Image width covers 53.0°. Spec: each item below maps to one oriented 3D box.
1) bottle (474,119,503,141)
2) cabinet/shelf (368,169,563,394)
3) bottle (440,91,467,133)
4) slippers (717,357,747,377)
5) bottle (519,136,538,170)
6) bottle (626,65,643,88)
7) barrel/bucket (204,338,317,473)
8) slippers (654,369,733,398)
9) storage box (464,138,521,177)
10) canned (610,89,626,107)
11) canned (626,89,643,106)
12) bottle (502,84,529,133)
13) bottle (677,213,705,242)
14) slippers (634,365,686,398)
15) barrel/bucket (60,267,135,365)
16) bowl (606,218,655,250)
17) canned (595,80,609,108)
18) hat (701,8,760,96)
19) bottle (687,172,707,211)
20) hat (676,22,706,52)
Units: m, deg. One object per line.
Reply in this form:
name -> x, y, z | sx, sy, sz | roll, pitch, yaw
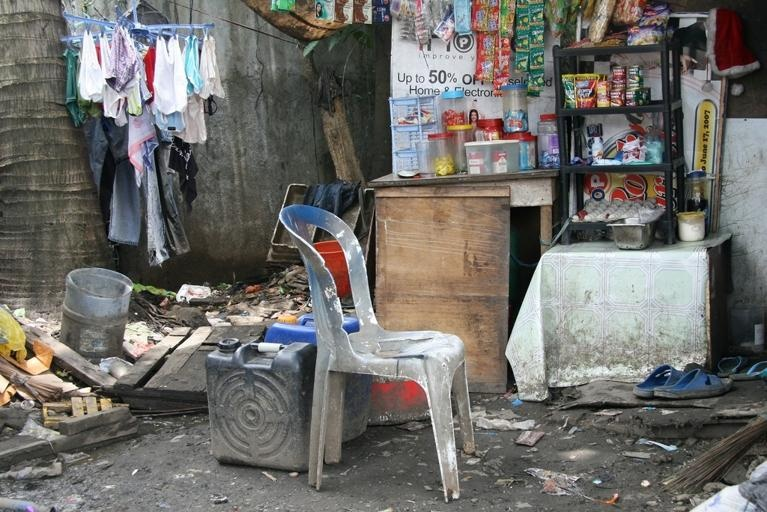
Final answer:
bottle -> 0.973, -1.169, 7.181 | 0.223, 0.191, 0.224 | 0, 2, 9
cabinet/shelf -> 0.856, 0.037, 7.936 | 1.767, 2.331, 2.335 | -1, 2, 9
bottle -> 0.660, -1.372, 7.244 | 0.256, 0.357, 0.220 | 0, 8, 5
slippers -> 2.846, 0.900, 6.319 | 0.125, 0.078, 0.261 | -5, 12, 44
bottle -> 1.331, -0.959, 7.013 | 0.241, 0.325, 0.092 | -8, 12, -44
bottle -> 2.178, -1.556, 6.669 | 0.137, 0.184, 0.064 | 1, 9, 6
barrel/bucket -> -0.876, 1.102, 5.614 | 0.910, 0.991, 0.501 | 3, 8, 15
slippers -> 2.402, 1.010, 5.972 | 0.486, 0.158, 0.250 | -5, -5, -5
storage box -> 0.976, -0.855, 6.893 | 0.360, 0.220, 0.362 | -1, 2, 15
canned -> 2.008, -1.371, 6.680 | 0.139, 0.154, 0.138 | 1, 5, 5
canned -> 2.165, -1.369, 6.674 | 0.143, 0.162, 0.145 | 4, 5, 25
bottle -> 1.214, -1.369, 7.128 | 0.231, 0.442, 0.219 | 0, 8, 0
bottle -> 2.632, -0.252, 6.605 | 0.242, 0.242, 0.244 | 0, 3, 12
slippers -> 2.222, 1.016, 6.181 | 0.514, 0.165, 0.185 | -21, 15, -40
barrel/bucket -> -2.718, 0.516, 7.390 | 0.871, 0.875, 0.704 | 1, 17, -40
bowl -> 2.106, -0.193, 6.521 | 0.271, 0.161, 0.388 | 0, -3, 19
canned -> 1.897, -1.414, 6.662 | 0.118, 0.225, 0.040 | 1, 9, 11
hat -> 2.968, -1.793, 6.711 | 0.448, 0.589, 0.213 | -3, 2, 6
bottle -> 2.762, -0.583, 6.810 | 0.153, 0.337, 0.125 | 4, 9, 25
hat -> 2.715, -1.930, 6.753 | 0.253, 0.239, 0.071 | 10, 9, 21
